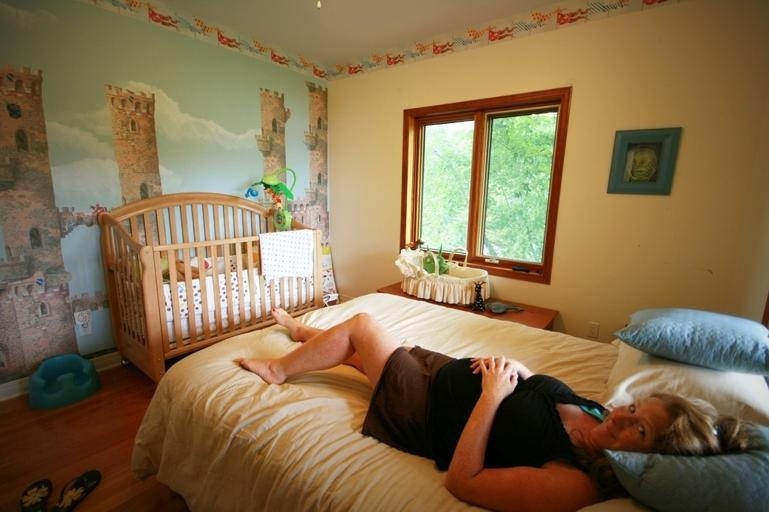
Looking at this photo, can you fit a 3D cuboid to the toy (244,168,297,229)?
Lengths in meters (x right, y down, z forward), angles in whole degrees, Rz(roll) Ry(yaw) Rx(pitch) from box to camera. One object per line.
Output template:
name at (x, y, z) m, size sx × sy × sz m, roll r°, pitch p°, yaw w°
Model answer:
toy at (-0.995, -0.587, 4.913) m, size 0.600 × 0.651 × 0.622 m, roll -8°, pitch 14°, yaw -33°

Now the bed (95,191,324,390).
bed at (-1.423, 0.286, 3.864) m, size 0.831 × 1.173 × 1.461 m, roll 10°, pitch 16°, yaw 42°

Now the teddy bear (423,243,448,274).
teddy bear at (0.448, 0.033, 4.390) m, size 0.172 × 0.238 × 0.243 m, roll 5°, pitch 14°, yaw 0°

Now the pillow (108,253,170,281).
pillow at (-1.939, 0.061, 3.799) m, size 0.332 × 0.077 × 0.318 m, roll 3°, pitch 12°, yaw -10°
